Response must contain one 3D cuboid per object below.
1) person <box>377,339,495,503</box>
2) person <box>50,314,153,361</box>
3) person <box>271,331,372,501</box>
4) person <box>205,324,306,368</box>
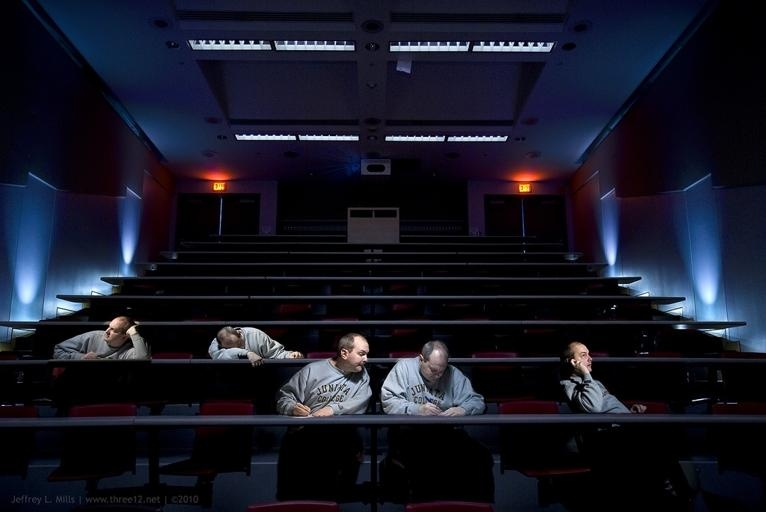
[{"bbox_3d":[0.397,1.264,4.428,0.821,1.023,1.168,1,5,-12],"label":"person"},{"bbox_3d":[-2.837,0.824,5.682,0.935,0.391,0.440,-5,-10,25],"label":"person"},{"bbox_3d":[-0.481,1.200,4.392,0.768,1.170,0.955,0,-10,-2],"label":"person"},{"bbox_3d":[-1.370,0.921,5.951,0.929,0.331,1.150,5,-3,23],"label":"person"}]
